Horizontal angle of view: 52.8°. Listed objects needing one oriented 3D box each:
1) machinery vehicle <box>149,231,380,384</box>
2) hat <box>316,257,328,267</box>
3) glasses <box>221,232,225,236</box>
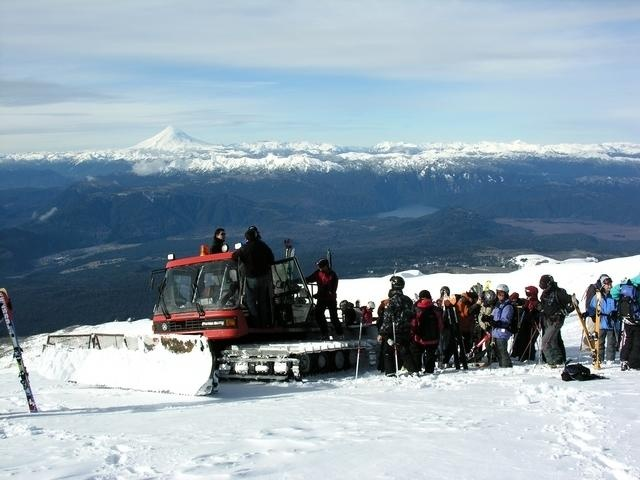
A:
[{"bbox_3d":[-1.843,1.932,18.873,4.355,2.774,5.660,-3,-6,29],"label":"machinery vehicle"},{"bbox_3d":[0.027,0.672,19.160,0.322,0.230,0.251,14,13,24],"label":"hat"},{"bbox_3d":[-2.855,-0.182,18.968,0.092,0.079,0.083,0,-3,-8],"label":"glasses"}]
